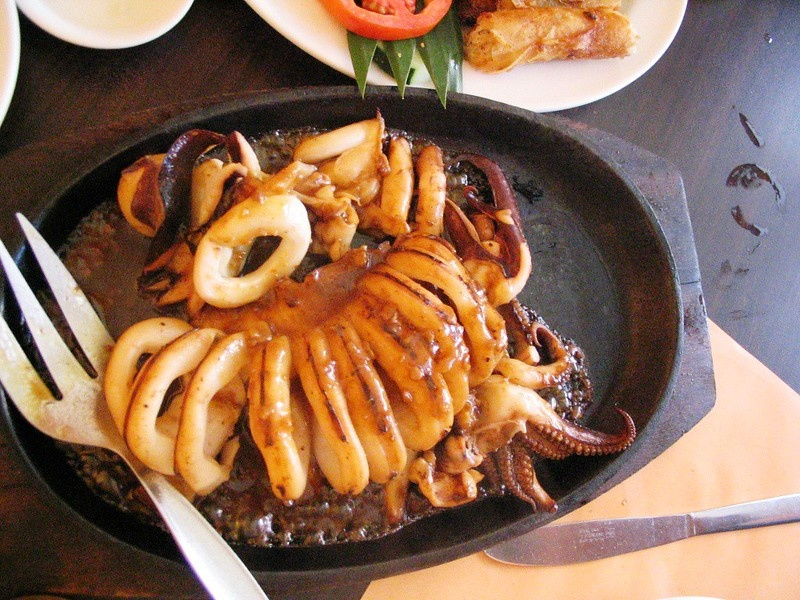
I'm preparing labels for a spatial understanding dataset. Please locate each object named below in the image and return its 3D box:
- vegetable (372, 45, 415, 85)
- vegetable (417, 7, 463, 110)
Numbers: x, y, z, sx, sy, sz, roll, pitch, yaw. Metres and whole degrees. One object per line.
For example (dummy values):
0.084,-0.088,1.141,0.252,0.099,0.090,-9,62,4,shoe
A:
-0.058,-0.973,3.517,0.125,0.160,0.037,-13,18,16,vegetable
0.182,-1.038,3.523,0.136,0.521,0.038,12,-27,-16,vegetable
